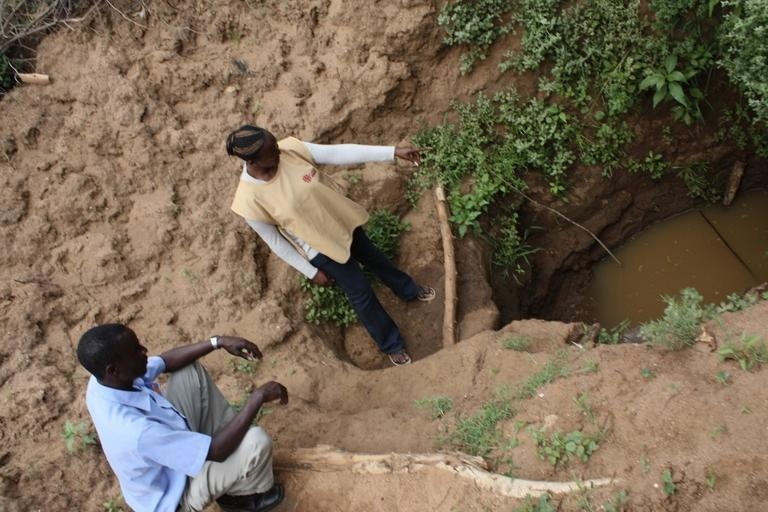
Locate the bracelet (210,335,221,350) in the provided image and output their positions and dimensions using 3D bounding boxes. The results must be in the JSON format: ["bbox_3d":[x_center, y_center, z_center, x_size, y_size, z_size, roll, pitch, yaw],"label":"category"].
[{"bbox_3d":[-1.758,0.877,8.291,0.084,0.114,0.096,4,-1,-3],"label":"bracelet"}]

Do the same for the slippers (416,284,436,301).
[{"bbox_3d":[0.490,0.449,9.717,0.247,0.120,0.113,-5,-14,9],"label":"slippers"}]
